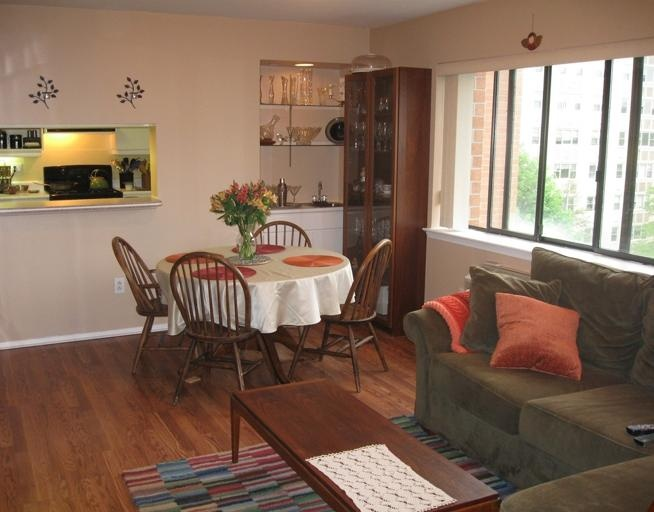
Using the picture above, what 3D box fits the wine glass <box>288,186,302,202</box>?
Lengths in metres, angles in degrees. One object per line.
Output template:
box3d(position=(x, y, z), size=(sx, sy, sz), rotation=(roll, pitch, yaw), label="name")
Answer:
box3d(position=(-0.349, -0.691, 5.803), size=(0.180, 0.204, 0.181), rotation=(-1, 2, -8), label="wine glass")

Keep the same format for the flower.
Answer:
box3d(position=(-0.604, -0.236, 3.915), size=(0.520, 0.496, 0.497), rotation=(2, 3, 12), label="flower")

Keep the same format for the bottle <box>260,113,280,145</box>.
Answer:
box3d(position=(-0.614, -1.361, 5.603), size=(0.207, 0.328, 0.378), rotation=(-1, 12, -5), label="bottle")

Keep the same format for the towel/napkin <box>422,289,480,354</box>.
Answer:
box3d(position=(0.815, 0.431, 3.334), size=(0.313, 0.335, 0.103), rotation=(-4, -26, 8), label="towel/napkin")

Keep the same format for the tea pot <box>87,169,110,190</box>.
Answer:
box3d(position=(-2.541, -0.858, 5.746), size=(0.228, 0.238, 0.224), rotation=(-2, 12, 0), label="tea pot")

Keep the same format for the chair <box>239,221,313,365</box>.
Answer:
box3d(position=(-0.452, 0.233, 5.132), size=(1.183, 1.385, 0.985), rotation=(0, 4, -4), label="chair")

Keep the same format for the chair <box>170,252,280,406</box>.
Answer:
box3d(position=(-0.726, 0.458, 3.682), size=(0.705, 1.082, 0.896), rotation=(-2, 12, -11), label="chair")

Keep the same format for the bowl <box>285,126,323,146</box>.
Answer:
box3d(position=(-0.283, -1.278, 5.675), size=(0.265, 0.119, 0.263), rotation=(-1, 9, 0), label="bowl")
